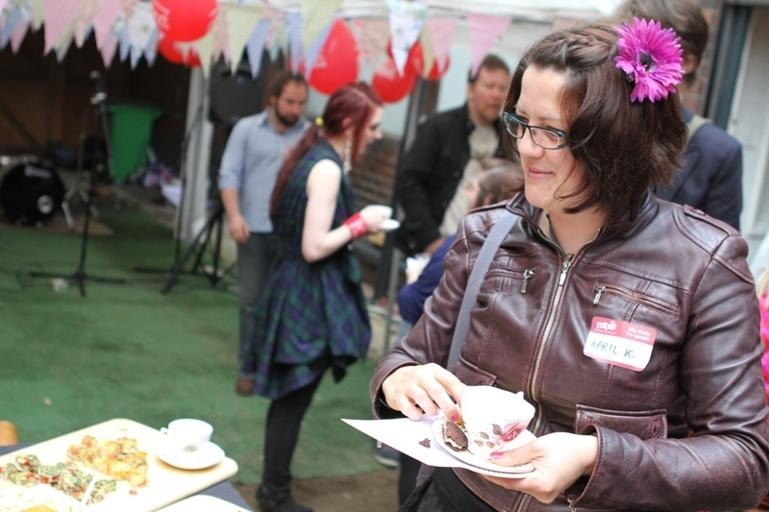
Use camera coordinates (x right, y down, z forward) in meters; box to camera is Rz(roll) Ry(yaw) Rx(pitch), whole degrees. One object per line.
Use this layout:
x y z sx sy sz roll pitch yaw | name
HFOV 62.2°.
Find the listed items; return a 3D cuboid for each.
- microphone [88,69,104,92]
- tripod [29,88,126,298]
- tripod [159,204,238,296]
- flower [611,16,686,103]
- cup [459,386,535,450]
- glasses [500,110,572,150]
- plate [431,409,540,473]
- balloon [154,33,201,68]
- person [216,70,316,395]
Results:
-0.876 -0.529 1.940 0.035 0.064 0.064 -12 30 -8 | microphone
-0.962 -0.201 2.016 0.284 0.677 0.071 7 9 -4 | tripod
-0.643 -0.021 2.153 0.192 0.317 0.011 4 10 -23 | tripod
0.681 -0.499 1.646 0.184 0.217 0.134 9 9 5 | flower
0.295 0.414 1.682 0.169 0.116 0.150 1 6 12 | cup
0.396 -0.345 1.751 0.099 0.101 0.276 6 10 -15 | glasses
0.263 0.454 1.596 0.164 0.039 0.162 22 6 35 | plate
-0.647 -0.641 2.000 0.080 0.038 0.090 16 15 -46 | balloon
-0.382 -0.060 2.242 0.438 1.168 0.306 1 0 -33 | person
